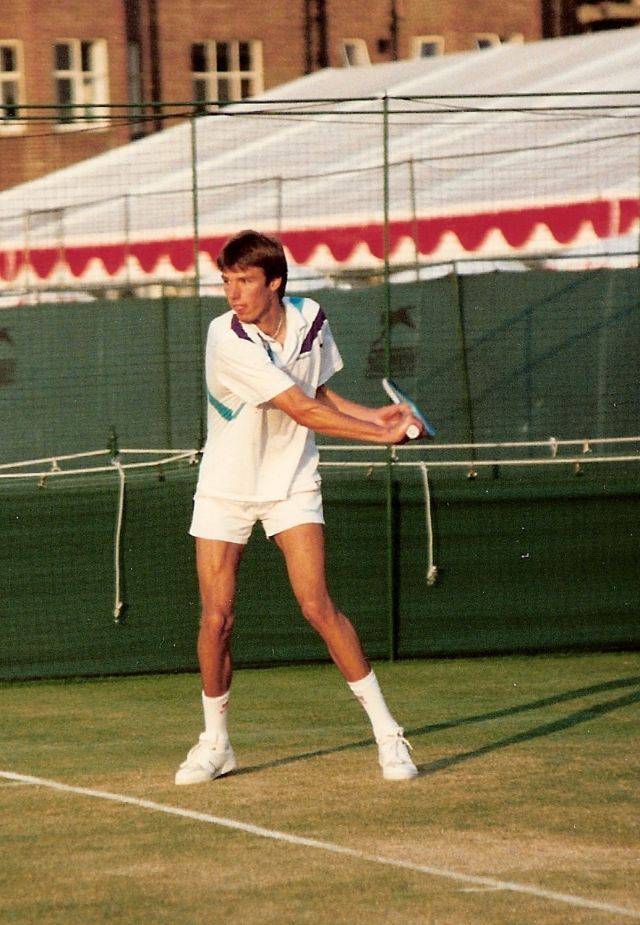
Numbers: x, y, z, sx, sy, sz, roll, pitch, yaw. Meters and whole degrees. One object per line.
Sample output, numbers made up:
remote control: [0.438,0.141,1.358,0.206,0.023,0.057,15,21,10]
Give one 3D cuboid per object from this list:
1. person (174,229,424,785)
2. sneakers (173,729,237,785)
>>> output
person: [-0.116,0.171,6.680,0.816,1.951,0.544,0,5,11]
sneakers: [-0.397,1.068,6.849,0.098,0.166,0.275,-5,0,43]
